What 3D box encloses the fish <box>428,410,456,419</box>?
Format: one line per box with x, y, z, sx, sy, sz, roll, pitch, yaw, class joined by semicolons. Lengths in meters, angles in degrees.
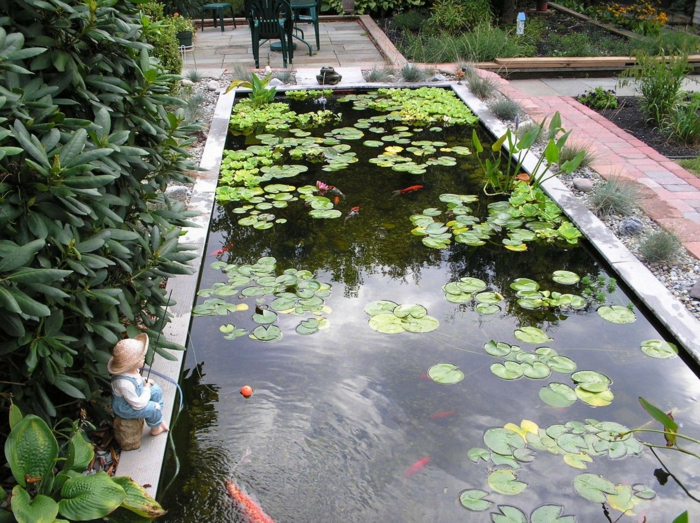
0.509;0.833;2.784;0.088;0.016;0.047;7;31;12;fish

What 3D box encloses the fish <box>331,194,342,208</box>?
-0.125;-0.541;4.548;0.083;0.052;0.148;-7;56;17;fish

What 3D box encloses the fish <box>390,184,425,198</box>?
0.529;-0.660;4.720;0.405;0.115;0.067;-11;-14;-9;fish

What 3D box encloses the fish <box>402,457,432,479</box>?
0.337;1.027;2.554;0.155;0.035;0.054;-17;28;-34;fish
